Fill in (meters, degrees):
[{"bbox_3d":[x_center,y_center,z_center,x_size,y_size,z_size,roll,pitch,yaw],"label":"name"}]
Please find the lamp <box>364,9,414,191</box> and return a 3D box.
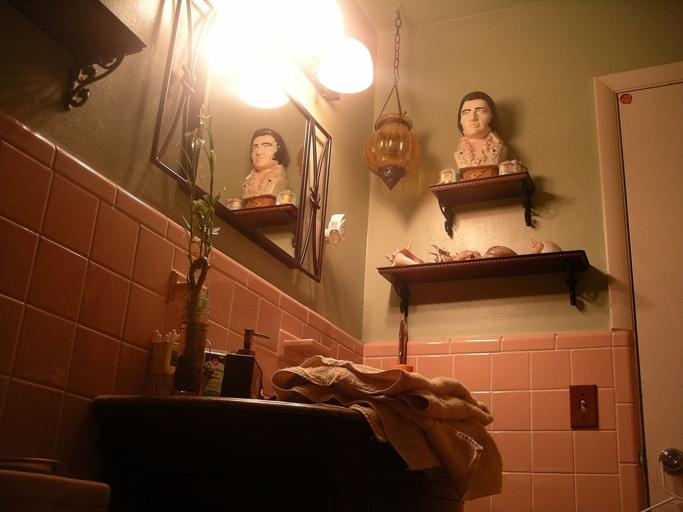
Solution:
[{"bbox_3d":[0.276,-0.831,2.755,0.256,1.043,0.307,-4,-24,16],"label":"lamp"}]
